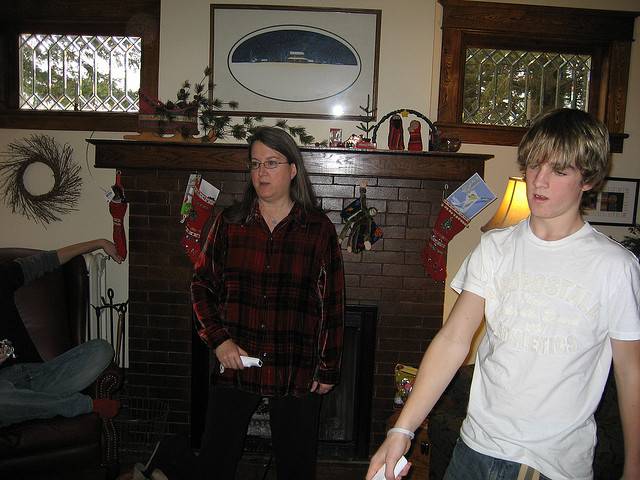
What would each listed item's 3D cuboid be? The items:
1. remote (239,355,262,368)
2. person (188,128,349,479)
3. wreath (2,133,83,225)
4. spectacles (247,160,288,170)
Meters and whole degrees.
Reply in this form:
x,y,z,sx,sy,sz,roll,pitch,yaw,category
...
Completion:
x,y,z,sx,sy,sz,roll,pitch,yaw,category
-0.325,0.566,2.302,0.122,0.044,0.036,14,-1,19,remote
-0.237,0.296,2.416,0.738,1.639,0.502,-2,11,-15,person
-2.025,-0.448,3.632,0.588,0.642,0.111,3,11,8,wreath
-0.258,-0.375,2.465,0.190,0.049,0.052,2,11,4,spectacles
